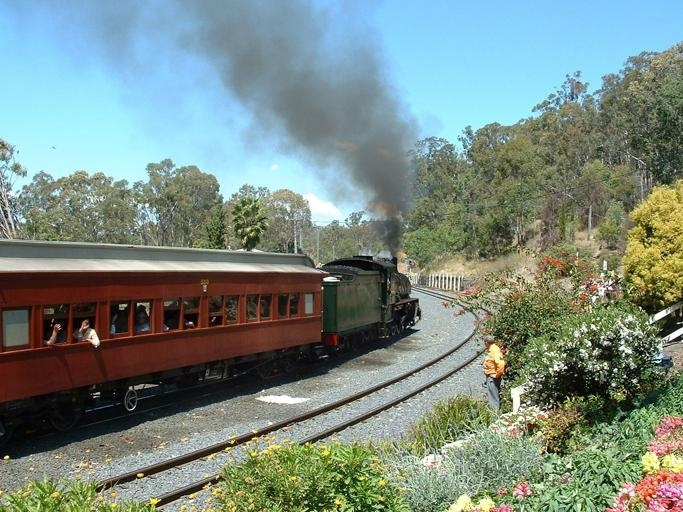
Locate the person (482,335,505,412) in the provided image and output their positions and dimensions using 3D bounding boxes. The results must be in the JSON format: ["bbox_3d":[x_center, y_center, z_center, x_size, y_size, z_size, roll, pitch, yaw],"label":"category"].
[{"bbox_3d":[3.201,2.435,10.275,0.424,1.438,0.637,-11,-4,37],"label":"person"}]
